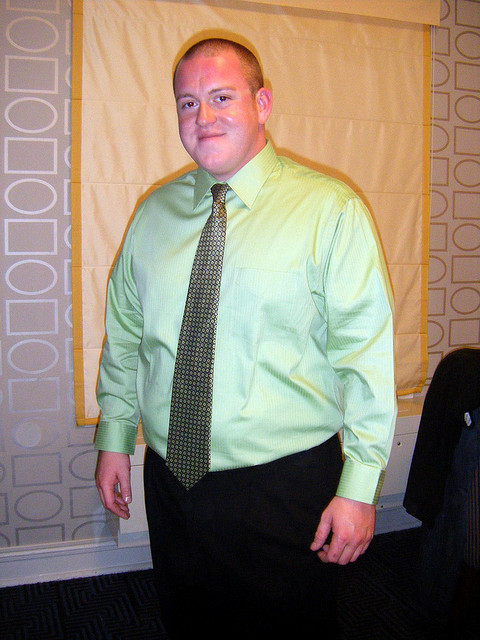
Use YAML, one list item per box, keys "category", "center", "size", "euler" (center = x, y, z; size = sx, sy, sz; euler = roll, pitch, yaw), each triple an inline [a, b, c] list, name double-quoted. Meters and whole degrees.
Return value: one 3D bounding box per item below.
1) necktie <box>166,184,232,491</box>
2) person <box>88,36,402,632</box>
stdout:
- category: "necktie"
  center: [-0.061, 0.024, 1.117]
  size: [0.084, 0.571, 0.147]
  euler: [4, 6, 33]
- category: "person"
  center: [-0.023, 0.040, 1.181]
  size: [0.664, 1.177, 0.278]
  euler: [2, 6, 17]
